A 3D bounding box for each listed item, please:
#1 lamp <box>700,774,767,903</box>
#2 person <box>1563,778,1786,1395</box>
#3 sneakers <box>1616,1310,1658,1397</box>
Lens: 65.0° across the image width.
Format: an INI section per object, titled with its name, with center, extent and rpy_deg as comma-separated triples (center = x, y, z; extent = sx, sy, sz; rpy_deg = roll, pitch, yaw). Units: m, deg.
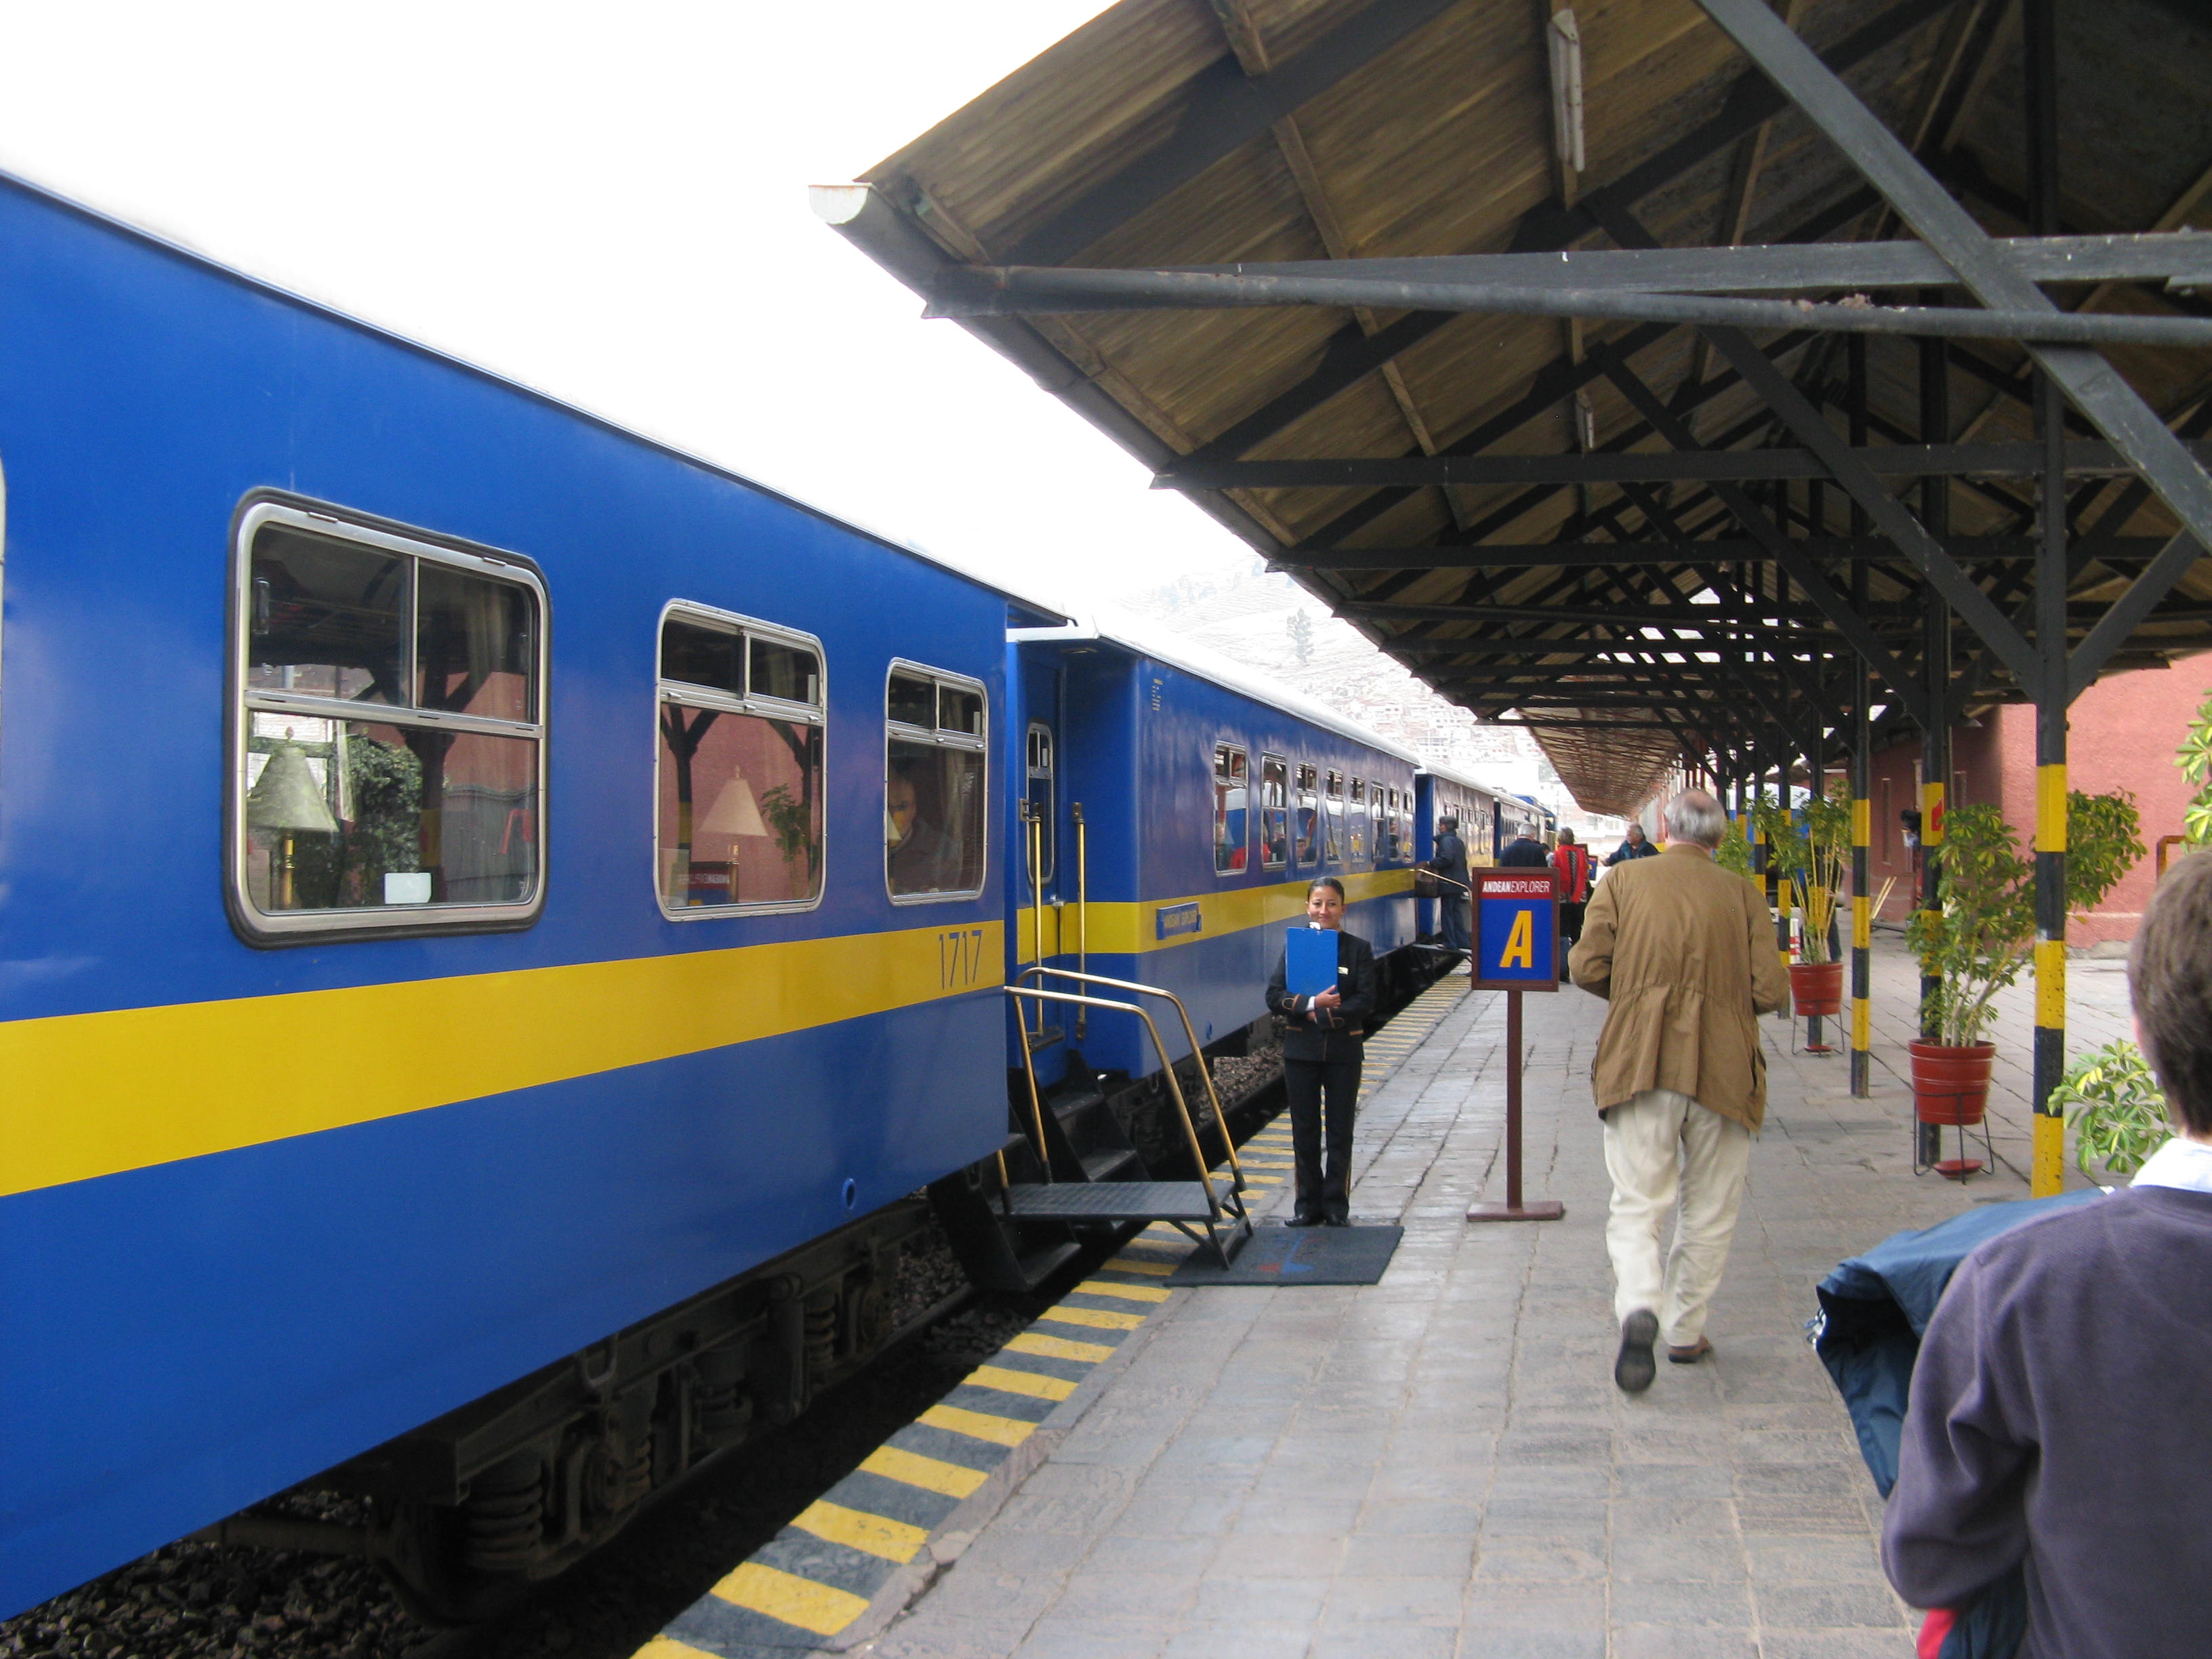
[lamp]
center = -1.294, 0.029, 5.867
extent = 0.223, 0.356, 0.205
rpy_deg = 6, -11, 42
[person]
center = 2.151, 0.929, 6.557
extent = 0.759, 1.909, 1.399
rpy_deg = -1, 0, 20
[sneakers]
center = 1.854, 1.856, 6.096
extent = 0.122, 0.139, 0.329
rpy_deg = 3, -29, 11
